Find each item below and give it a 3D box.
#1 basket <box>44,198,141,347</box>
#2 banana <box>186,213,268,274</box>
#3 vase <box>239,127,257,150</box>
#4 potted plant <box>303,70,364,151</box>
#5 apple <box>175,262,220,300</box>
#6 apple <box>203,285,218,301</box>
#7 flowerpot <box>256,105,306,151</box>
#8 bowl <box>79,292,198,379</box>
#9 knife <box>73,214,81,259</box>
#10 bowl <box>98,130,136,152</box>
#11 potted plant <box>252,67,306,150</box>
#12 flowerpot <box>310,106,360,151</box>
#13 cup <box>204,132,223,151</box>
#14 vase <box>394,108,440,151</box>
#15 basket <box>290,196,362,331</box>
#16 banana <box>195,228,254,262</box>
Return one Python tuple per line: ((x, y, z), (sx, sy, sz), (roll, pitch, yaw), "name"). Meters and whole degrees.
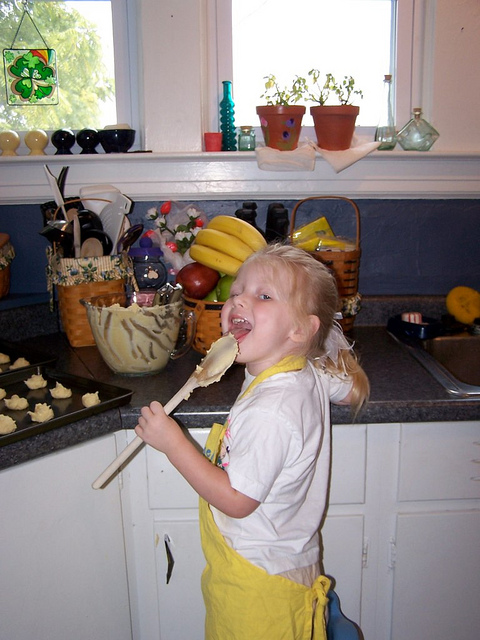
((-0.384, -0.075, 1.386), (0.251, 0.262, 0.199), (-5, 16, -10), "basket")
((0.001, -0.193, 1.247), (0.196, 0.085, 0.252), (-23, 24, -17), "banana")
((0.021, -0.494, 1.471), (0.060, 0.075, 0.057), (-1, 5, -3), "vase")
((0.241, -0.537, 1.397), (0.141, 0.181, 0.157), (3, 12, 13), "potted plant")
((-0.095, -0.088, 1.250), (0.057, 0.054, 0.068), (43, 37, 9), "apple")
((-0.069, -0.061, 1.261), (0.020, 0.046, 0.021), (24, -19, 17), "apple")
((0.113, -0.496, 1.410), (0.123, 0.086, 0.119), (-13, 22, -34), "flowerpot")
((-0.213, 0.039, 1.195), (0.238, 0.157, 0.187), (1, 10, 10), "bowl")
((-0.392, -0.200, 1.288), (0.024, 0.100, 0.041), (-7, 17, -15), "knife")
((-0.343, -0.478, 1.462), (0.072, 0.038, 0.072), (1, 12, 0), "bowl")
((0.126, -0.543, 1.401), (0.124, 0.167, 0.120), (6, 13, 14), "potted plant")
((0.253, -0.504, 1.407), (0.139, 0.099, 0.134), (-4, 19, -10), "flowerpot")
((-0.071, -0.481, 1.455), (0.047, 0.039, 0.052), (0, 8, 0), "cup")
((0.490, -0.523, 1.474), (0.132, 0.121, 0.071), (0, 34, 18), "vase")
((0.220, -0.146, 1.398), (0.241, 0.326, 0.219), (-2, 14, -19), "basket")
((-0.040, -0.173, 1.229), (0.060, 0.063, 0.188), (-10, 17, -25), "banana")
